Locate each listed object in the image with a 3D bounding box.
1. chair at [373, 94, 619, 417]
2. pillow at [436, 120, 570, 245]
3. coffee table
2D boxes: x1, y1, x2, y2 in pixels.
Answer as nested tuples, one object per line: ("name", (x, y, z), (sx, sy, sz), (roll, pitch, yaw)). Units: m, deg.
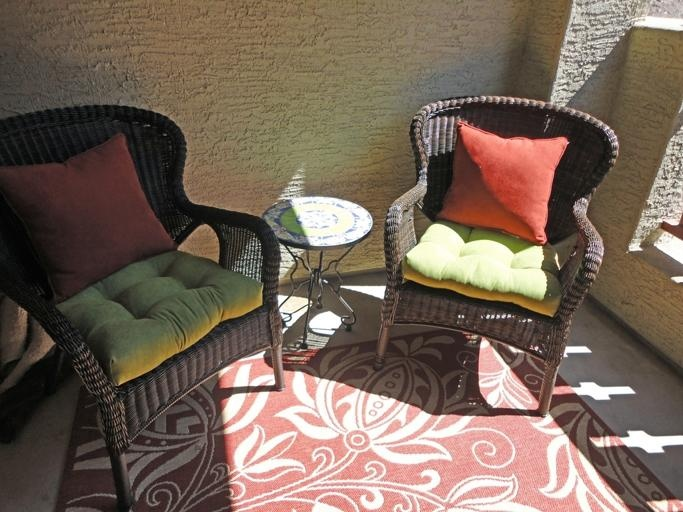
("chair", (0.660, -0.073, 2.397), (0.996, 1.055, 1.003), (-21, 39, -34))
("pillow", (0.743, -0.319, 2.426), (0.525, 0.407, 0.247), (12, 35, 16))
("coffee table", (-0.123, 0.106, 2.473), (0.507, 0.504, 0.475), (-1, 16, -19))
